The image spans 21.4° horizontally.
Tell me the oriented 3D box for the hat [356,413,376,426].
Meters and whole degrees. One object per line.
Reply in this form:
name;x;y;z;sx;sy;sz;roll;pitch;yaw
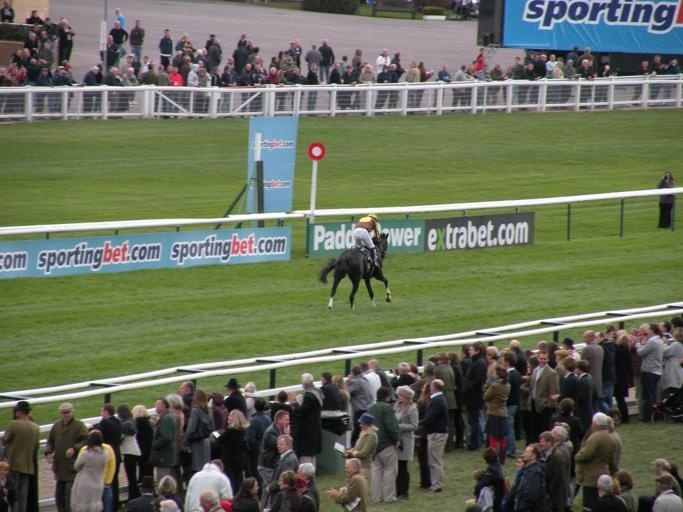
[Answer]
hat;0.392;2.920;31.580;0.265;0.146;0.186;22;8;14

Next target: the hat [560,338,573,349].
hat;4.198;1.676;33.449;0.179;0.198;0.214;1;-10;-28

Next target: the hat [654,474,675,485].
hat;5.463;3.860;30.602;0.248;0.115;0.177;3;9;28

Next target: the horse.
horse;0.384;0.376;37.822;0.638;1.496;2.678;-1;3;31

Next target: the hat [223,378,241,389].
hat;-1.968;2.326;32.088;0.238;0.200;0.248;-3;5;-5

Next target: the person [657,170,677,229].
person;7.701;-1.252;42.890;0.392;1.352;0.991;-2;5;10

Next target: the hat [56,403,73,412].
hat;-4.816;2.669;31.227;0.246;0.156;0.193;-3;5;-10

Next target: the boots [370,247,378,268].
boots;0.662;0.081;37.455;0.149;0.381;0.214;-2;-27;-6

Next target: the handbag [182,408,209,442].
handbag;-2.577;3.033;31.535;0.658;0.555;0.354;-5;6;-42

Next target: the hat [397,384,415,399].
hat;1.139;2.485;32.084;0.287;0.167;0.219;21;-1;-38
